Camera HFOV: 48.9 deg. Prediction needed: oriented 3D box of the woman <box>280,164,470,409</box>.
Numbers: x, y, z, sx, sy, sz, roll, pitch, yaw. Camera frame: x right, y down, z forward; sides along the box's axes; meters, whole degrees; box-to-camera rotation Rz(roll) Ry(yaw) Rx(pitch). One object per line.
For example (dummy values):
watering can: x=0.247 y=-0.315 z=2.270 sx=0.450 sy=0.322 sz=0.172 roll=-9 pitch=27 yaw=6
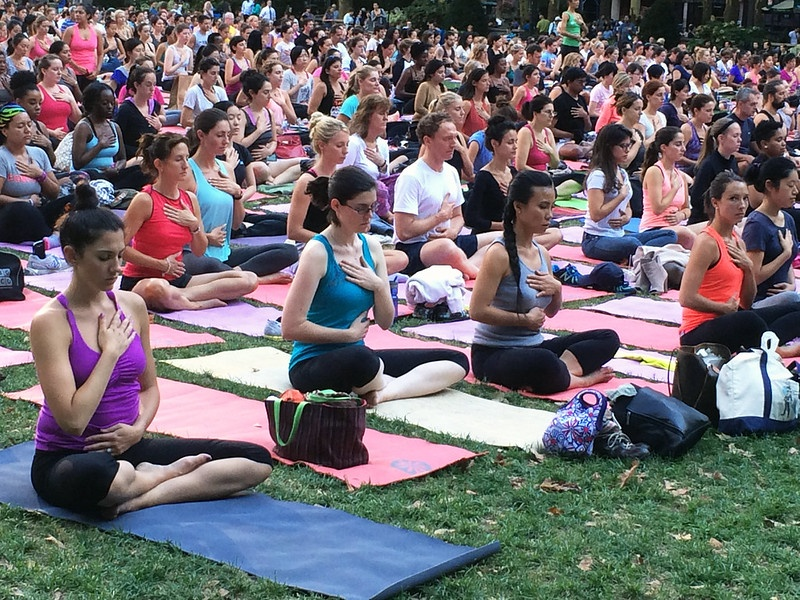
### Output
woman: x=-0.148 y=-0.078 z=5.847 sx=1.400 sy=1.463 sz=1.155 roll=-1 pitch=11 yaw=-22

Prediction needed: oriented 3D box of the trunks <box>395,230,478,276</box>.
trunks: x=0.415 y=-0.518 z=9.151 sx=0.553 sy=0.181 sz=0.612 roll=-5 pitch=30 yaw=41

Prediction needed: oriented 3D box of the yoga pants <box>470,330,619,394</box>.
yoga pants: x=1.104 y=0.413 z=6.732 sx=0.969 sy=0.295 sz=0.918 roll=-10 pitch=18 yaw=-37

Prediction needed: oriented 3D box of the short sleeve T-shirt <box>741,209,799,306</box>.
short sleeve T-shirt: x=3.160 y=-0.350 z=7.576 sx=0.467 sy=0.796 sz=0.778 roll=12 pitch=26 yaw=39

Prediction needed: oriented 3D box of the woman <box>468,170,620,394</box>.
woman: x=1.056 y=-0.128 z=6.520 sx=0.983 sy=1.618 sz=0.559 roll=6 pitch=6 yaw=11

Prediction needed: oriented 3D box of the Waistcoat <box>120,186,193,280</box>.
Waistcoat: x=-2.136 y=-0.716 z=7.927 sx=0.440 sy=0.695 sz=0.554 roll=26 pitch=23 yaw=39

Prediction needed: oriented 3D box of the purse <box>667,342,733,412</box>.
purse: x=2.157 y=0.539 z=5.977 sx=0.422 sy=0.523 sz=0.415 roll=7 pitch=-2 yaw=31

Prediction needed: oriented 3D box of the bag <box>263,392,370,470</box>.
bag: x=-0.504 y=0.790 z=5.323 sx=0.665 sy=0.370 sz=0.473 roll=2 pitch=-2 yaw=38

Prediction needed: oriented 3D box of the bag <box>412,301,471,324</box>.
bag: x=0.372 y=0.097 z=8.294 sx=0.547 sy=0.222 sz=0.185 roll=-5 pitch=11 yaw=-20

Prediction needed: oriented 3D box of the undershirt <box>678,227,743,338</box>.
undershirt: x=2.422 y=-0.184 z=6.935 sx=0.467 sy=0.607 sz=0.341 roll=-8 pitch=-4 yaw=24

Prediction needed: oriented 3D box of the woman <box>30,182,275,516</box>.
woman: x=-1.202 y=0.269 z=4.519 sx=1.226 sy=1.523 sz=1.166 roll=0 pitch=11 yaw=-37

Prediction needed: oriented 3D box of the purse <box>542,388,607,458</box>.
purse: x=1.132 y=0.754 z=5.472 sx=0.373 sy=0.471 sz=0.170 roll=2 pitch=-34 yaw=44
